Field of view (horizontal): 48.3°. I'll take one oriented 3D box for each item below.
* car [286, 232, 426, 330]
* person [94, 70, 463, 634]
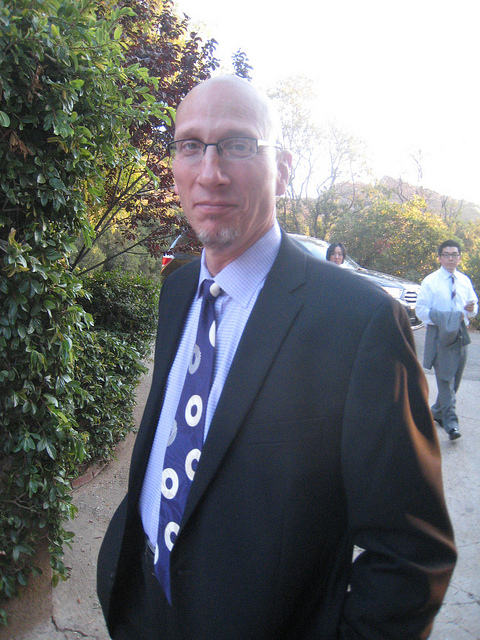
[{"bbox_3d":[1.881,-0.664,9.341,1.441,1.265,3.215,-2,12,-39],"label":"car"},{"bbox_3d":[0.069,0.208,1.471,0.476,1.246,1.000,5,5,-40],"label":"person"}]
